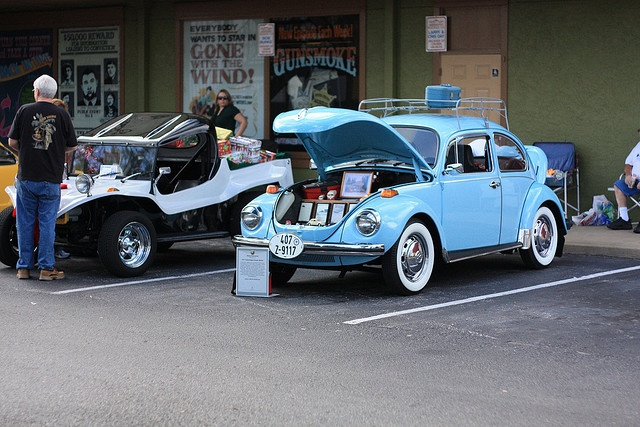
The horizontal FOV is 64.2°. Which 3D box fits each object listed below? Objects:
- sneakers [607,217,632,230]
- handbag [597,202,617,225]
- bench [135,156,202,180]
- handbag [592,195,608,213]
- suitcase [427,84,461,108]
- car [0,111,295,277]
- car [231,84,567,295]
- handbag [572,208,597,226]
[{"bbox_3d":[6.621,0.226,11.425,0.532,0.276,0.213,5,-1,4],"label":"sneakers"},{"bbox_3d":[6.759,0.017,12.017,0.432,0.548,0.160,-5,-6,42],"label":"handbag"},{"bbox_3d":[-2.681,-0.808,8.832,0.675,0.277,0.470,-1,12,-6],"label":"bench"},{"bbox_3d":[6.644,-0.250,12.235,0.289,0.416,0.090,1,-17,3],"label":"handbag"},{"bbox_3d":[2.027,-1.949,8.503,0.445,0.479,0.601,9,11,32],"label":"suitcase"},{"bbox_3d":[-2.600,-0.429,9.267,2.356,2.179,4.137,0,2,37],"label":"car"},{"bbox_3d":[1.520,-0.509,7.892,2.727,2.430,4.836,0,0,43],"label":"car"},{"bbox_3d":[6.249,0.089,12.100,0.516,0.367,0.271,3,5,29],"label":"handbag"}]
